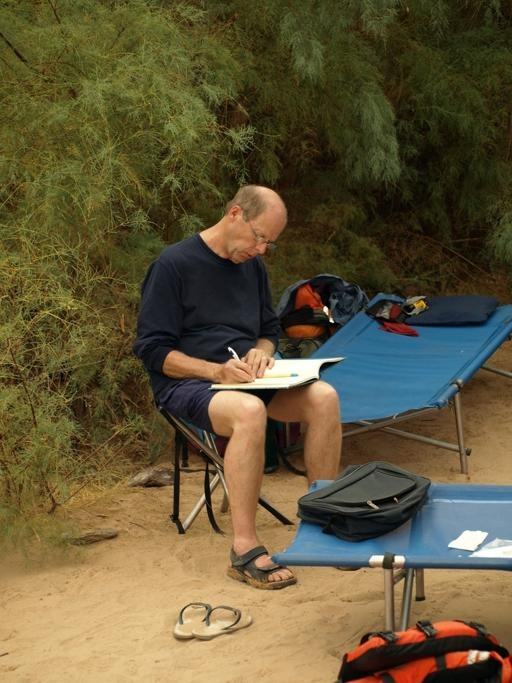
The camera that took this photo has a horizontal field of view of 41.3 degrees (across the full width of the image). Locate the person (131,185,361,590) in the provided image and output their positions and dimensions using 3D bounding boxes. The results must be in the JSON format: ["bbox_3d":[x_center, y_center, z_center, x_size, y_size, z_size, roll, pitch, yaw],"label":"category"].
[{"bbox_3d":[0.002,0.128,2.696,0.840,1.388,0.794,2,4,41],"label":"person"}]

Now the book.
[{"bbox_3d":[0.104,0.135,2.543,0.329,0.110,0.566,-2,3,33],"label":"book"}]

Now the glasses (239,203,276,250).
[{"bbox_3d":[-0.018,-0.425,2.569,0.144,0.155,0.054,-4,-13,-43],"label":"glasses"}]

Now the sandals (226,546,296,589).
[{"bbox_3d":[0.007,0.741,2.258,0.124,0.094,0.255,-6,3,-45],"label":"sandals"}]
